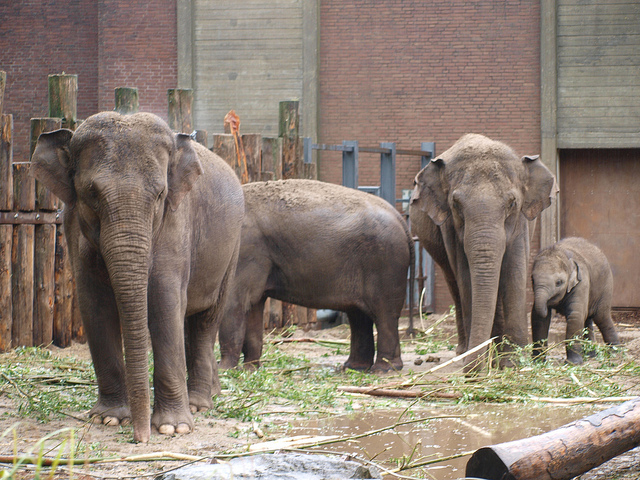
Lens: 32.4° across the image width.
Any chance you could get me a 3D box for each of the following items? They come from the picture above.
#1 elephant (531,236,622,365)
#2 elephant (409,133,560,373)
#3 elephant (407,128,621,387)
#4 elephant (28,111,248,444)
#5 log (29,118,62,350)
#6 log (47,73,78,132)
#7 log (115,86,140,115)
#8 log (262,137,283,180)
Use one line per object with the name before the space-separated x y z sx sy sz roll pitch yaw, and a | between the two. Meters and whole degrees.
elephant | 2.687 0.660 11.875 0.543 1.355 1.529 2 2 44
elephant | 1.753 -0.021 11.401 1.261 2.321 2.706 -4 0 4
elephant | 2.139 0.115 11.035 2.271 2.362 1.884 -2 5 -19
elephant | -1.520 0.303 9.479 1.368 2.610 3.077 -2 0 0
log | -2.923 0.037 11.191 0.281 2.578 0.268 -5 25 -33
log | -2.625 -1.429 11.227 0.327 0.619 0.340 -15 29 -42
log | -1.985 -1.456 11.311 0.241 0.286 0.239 21 25 40
log | -0.529 -0.970 12.998 0.175 0.495 0.450 2 5 23
